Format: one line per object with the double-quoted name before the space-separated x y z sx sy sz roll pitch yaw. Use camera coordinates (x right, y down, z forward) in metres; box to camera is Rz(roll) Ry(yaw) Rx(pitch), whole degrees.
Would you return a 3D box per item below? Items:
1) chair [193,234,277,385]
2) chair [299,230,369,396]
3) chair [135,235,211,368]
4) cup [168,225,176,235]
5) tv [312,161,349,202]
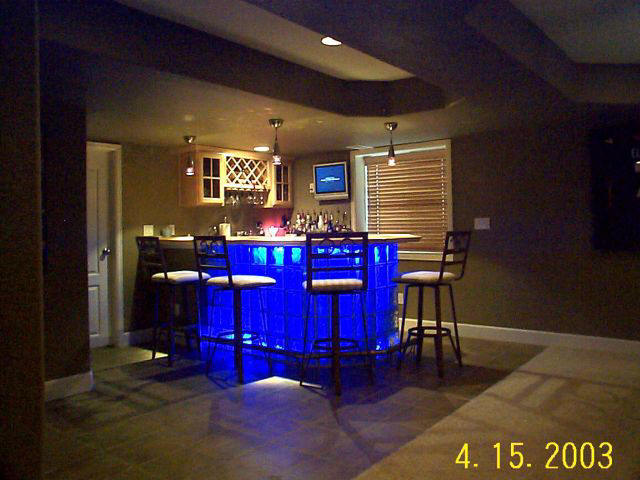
"chair" -0.905 0.593 4.700 0.757 1.323 1.299 -4 6 -39
"chair" 0.129 0.570 4.227 0.621 1.303 0.925 0 5 3
"chair" -1.494 0.598 5.096 0.639 1.325 0.578 -1 6 -43
"cup" -1.823 -0.111 5.944 0.073 0.124 0.123 3 14 2
"tv" 0.164 -0.822 6.782 0.584 0.551 0.214 0 1 32
